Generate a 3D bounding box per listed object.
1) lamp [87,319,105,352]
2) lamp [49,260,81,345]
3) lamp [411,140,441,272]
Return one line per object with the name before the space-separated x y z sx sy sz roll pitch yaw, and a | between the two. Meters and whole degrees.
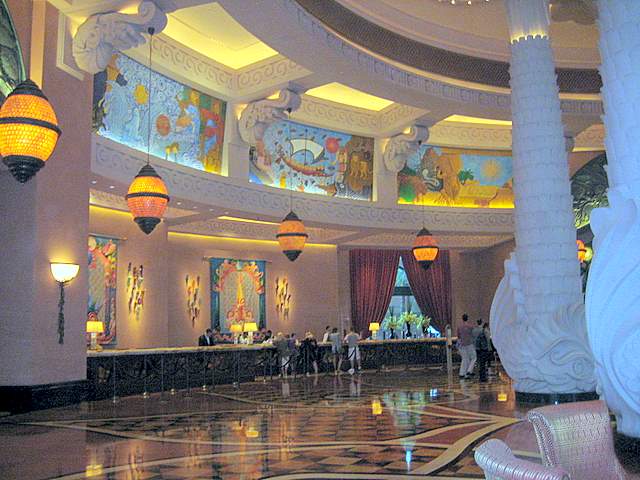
lamp | -4.564 1.956 10.741 0.235 0.404 0.236 18 -12 13
lamp | -4.203 1.028 8.528 0.238 1.301 0.393 -5 -10 18
lamp | 2.806 -0.246 14.147 0.689 2.116 0.707 -2 -15 10
